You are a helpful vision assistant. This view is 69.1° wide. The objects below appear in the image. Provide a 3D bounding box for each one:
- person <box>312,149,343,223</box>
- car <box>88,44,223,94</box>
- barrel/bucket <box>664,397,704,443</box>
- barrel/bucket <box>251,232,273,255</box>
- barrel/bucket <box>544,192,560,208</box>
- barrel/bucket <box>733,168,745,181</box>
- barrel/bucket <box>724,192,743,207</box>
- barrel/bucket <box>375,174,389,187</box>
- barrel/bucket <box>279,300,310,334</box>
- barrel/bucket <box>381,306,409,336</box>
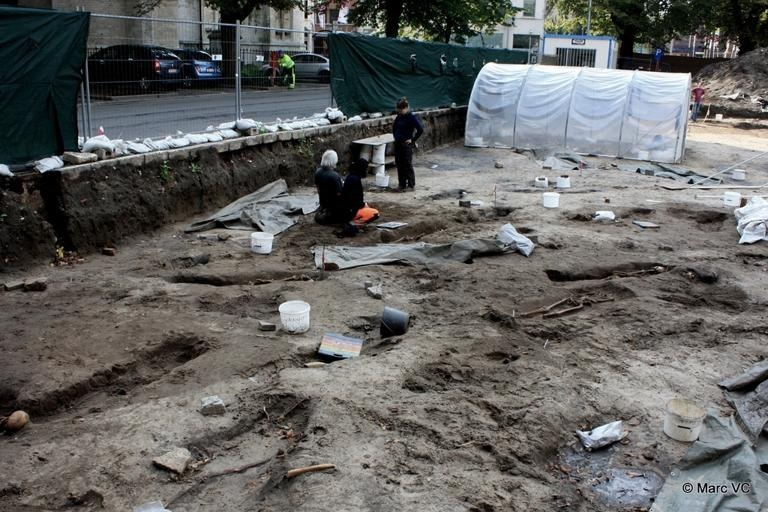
[{"bbox_3d":[-1.070,-1.319,10.548,0.543,1.369,0.598,-2,23,-6],"label":"person"},{"bbox_3d":[-4.604,-3.702,10.975,1.000,0.610,2.003,18,29,33],"label":"car"},{"bbox_3d":[3.099,1.703,5.790,0.475,0.289,0.432,-1,8,6],"label":"barrel/bucket"},{"bbox_3d":[-2.089,-0.246,9.386,0.408,0.253,0.370,-5,19,-19],"label":"barrel/bucket"},{"bbox_3d":[3.621,-1.253,12.221,0.365,0.235,0.364,0,15,0],"label":"barrel/bucket"},{"bbox_3d":[9.609,-2.246,15.167,0.386,0.255,0.381,1,16,0],"label":"barrel/bucket"},{"bbox_3d":[7.909,-1.285,12.572,0.412,0.304,0.401,-3,7,0],"label":"barrel/bucket"},{"bbox_3d":[-0.048,-1.873,13.623,0.341,0.213,0.303,2,18,-6],"label":"barrel/bucket"},{"bbox_3d":[-1.164,0.781,7.193,0.452,0.276,0.410,-4,9,-13],"label":"barrel/bucket"},{"bbox_3d":[0.141,0.840,7.322,0.451,0.364,0.357,7,-2,12],"label":"barrel/bucket"}]
